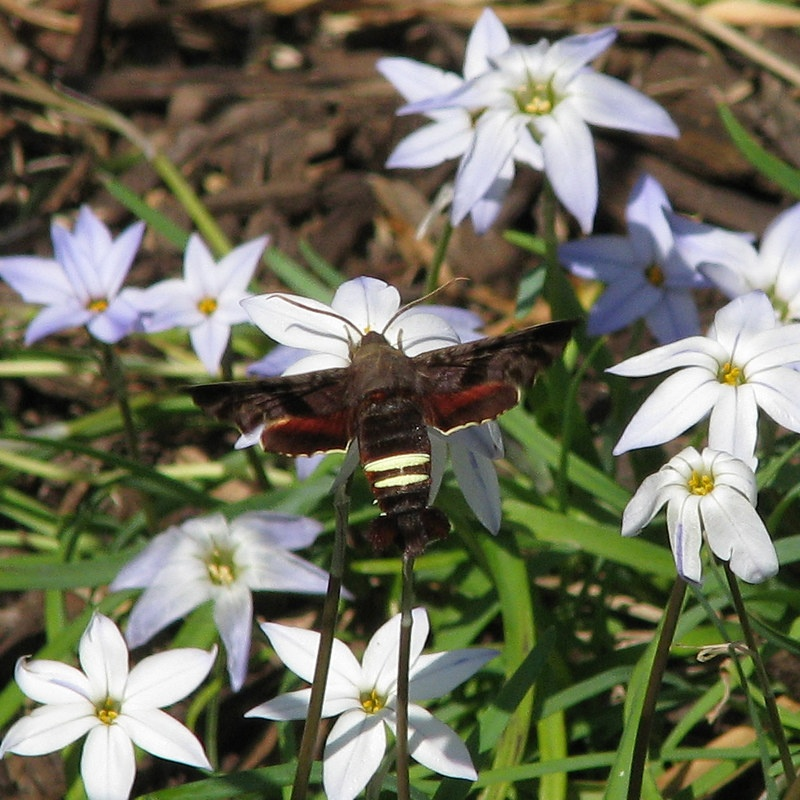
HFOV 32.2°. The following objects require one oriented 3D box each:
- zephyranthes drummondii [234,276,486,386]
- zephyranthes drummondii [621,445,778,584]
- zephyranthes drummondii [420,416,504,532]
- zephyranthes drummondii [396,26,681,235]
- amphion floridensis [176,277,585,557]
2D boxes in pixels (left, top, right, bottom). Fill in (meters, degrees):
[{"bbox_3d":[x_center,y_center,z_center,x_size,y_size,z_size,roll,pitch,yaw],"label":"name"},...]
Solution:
[{"bbox_3d":[-0.120,-0.165,2.925,0.438,0.353,0.299,-5,15,-24],"label":"zephyranthes drummondii"},{"bbox_3d":[0.573,0.213,2.549,0.239,0.092,0.275,-19,62,10],"label":"zephyranthes drummondii"},{"bbox_3d":[0.131,0.174,2.901,0.154,0.253,0.131,-4,25,-16],"label":"zephyranthes drummondii"},{"bbox_3d":[0.312,-0.607,2.939,0.463,0.158,0.517,38,77,28],"label":"zephyranthes drummondii"},{"bbox_3d":[-0.030,0.035,2.853,0.696,0.403,0.719,-7,23,-2],"label":"amphion floridensis"}]
